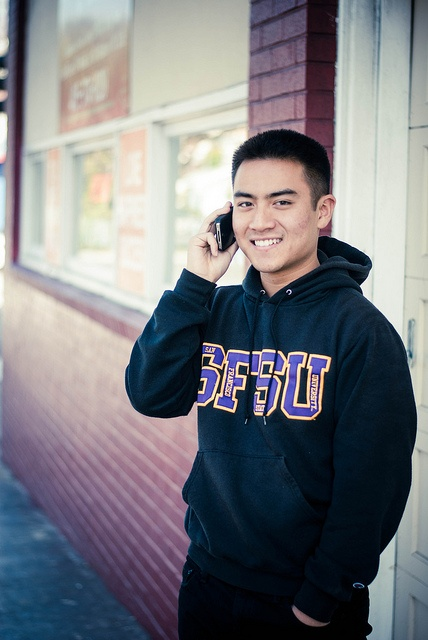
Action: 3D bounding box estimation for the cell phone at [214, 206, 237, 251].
[{"bbox_3d":[0.035,-0.271,1.676,0.024,0.101,0.103,5,24,25],"label":"cell phone"}]
